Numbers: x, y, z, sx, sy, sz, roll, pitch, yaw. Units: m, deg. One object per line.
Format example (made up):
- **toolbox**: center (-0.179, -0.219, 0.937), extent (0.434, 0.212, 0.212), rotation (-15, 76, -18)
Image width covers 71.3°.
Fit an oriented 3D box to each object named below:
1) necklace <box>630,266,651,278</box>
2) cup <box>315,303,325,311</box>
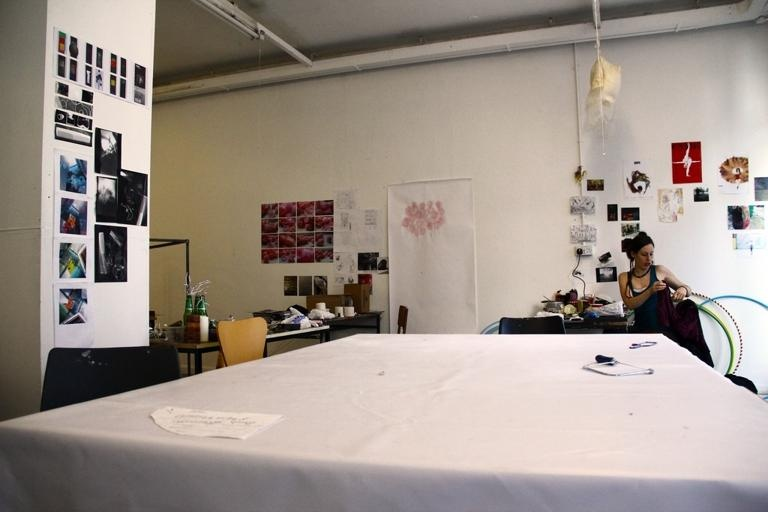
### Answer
- **necklace**: center (2.392, 0.142, 4.996), extent (0.098, 0.093, 0.174), rotation (1, 0, 20)
- **cup**: center (-0.635, 0.516, 5.441), extent (0.076, 0.061, 0.078), rotation (2, 5, 0)
